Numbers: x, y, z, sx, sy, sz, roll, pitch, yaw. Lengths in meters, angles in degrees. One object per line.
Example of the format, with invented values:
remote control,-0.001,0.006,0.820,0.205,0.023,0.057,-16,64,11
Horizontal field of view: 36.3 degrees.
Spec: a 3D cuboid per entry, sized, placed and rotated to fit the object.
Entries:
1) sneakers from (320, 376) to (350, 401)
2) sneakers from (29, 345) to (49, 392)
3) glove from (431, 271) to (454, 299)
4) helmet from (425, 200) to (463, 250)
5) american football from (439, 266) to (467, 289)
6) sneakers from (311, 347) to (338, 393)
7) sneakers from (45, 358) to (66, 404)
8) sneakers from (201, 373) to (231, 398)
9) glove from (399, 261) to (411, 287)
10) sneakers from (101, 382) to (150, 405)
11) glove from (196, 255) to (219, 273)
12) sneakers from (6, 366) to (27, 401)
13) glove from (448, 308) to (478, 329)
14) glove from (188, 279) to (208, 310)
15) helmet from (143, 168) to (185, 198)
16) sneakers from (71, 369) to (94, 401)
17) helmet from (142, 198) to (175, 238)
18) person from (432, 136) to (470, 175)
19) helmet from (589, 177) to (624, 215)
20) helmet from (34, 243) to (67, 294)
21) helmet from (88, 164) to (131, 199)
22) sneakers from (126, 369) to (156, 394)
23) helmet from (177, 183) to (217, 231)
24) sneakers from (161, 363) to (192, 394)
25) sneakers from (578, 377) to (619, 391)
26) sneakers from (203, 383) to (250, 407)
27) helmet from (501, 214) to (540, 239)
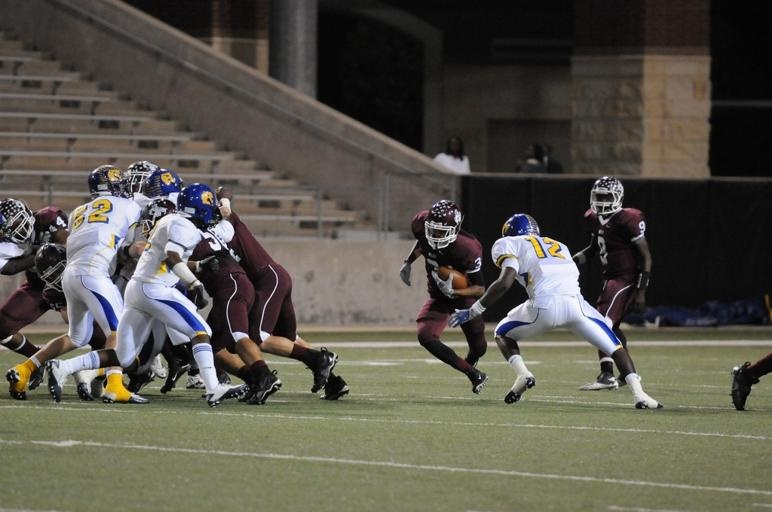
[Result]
sneakers,-0.506,1.306,11.606,0.148,0.179,0.384,-6,8,-4
sneakers,-3.371,1.116,11.337,0.124,0.333,0.157,10,11,12
glove,0.541,0.286,11.813,0.210,0.243,0.110,1,-23,-34
helmet,0.541,-0.372,11.867,0.364,0.404,0.482,19,43,26
american football,0.664,0.207,11.851,0.276,0.161,0.173,34,15,3
sneakers,-0.585,1.069,11.426,0.243,0.507,0.187,9,19,-15
sneakers,-3.134,1.162,11.103,0.252,0.453,0.159,-6,-1,-7
sneakers,-1.689,1.285,12.061,0.387,0.159,0.130,-2,6,27
glove,0.182,0.165,13.068,0.191,0.318,0.078,12,-20,-33
sneakers,-2.529,1.329,11.330,0.524,0.214,0.169,0,-1,-15
glove,-1.710,0.084,11.241,0.210,0.164,0.106,1,5,-2
sneakers,-3.519,1.224,11.210,0.224,0.307,0.134,-5,17,12
glove,0.758,0.611,11.672,0.258,0.081,0.150,-10,35,23
glove,-1.747,0.363,10.790,0.110,0.257,0.193,-37,7,9
helmet,-2.278,-0.758,12.167,0.441,0.312,0.318,7,-6,3
sneakers,-2.930,1.240,11.418,0.198,0.296,0.260,0,5,-12
helmet,-2.284,-0.385,11.749,0.326,0.387,0.424,0,4,-13
person,1.064,-1.681,19.478,0.555,0.599,1.268,1,4,2
helmet,2.435,-0.643,13.000,0.336,0.352,0.462,1,1,34
helmet,-3.355,0.127,11.752,0.286,0.497,0.493,-1,5,-17
helmet,-2.802,-0.741,11.885,0.284,0.291,0.392,7,11,44
sneakers,-2.444,1.207,11.633,0.135,0.152,0.364,7,14,13
helmet,-1.729,-0.459,10.991,0.467,0.368,0.329,-8,23,-43
sneakers,-2.153,1.227,11.935,0.272,0.330,0.197,0,5,-9
sneakers,2.239,1.335,12.414,0.449,0.186,0.156,-1,-2,-2
sneakers,-1.511,1.304,11.047,0.353,0.238,0.288,0,4,-4
helmet,1.320,-0.296,11.757,0.337,0.291,0.274,16,1,23
